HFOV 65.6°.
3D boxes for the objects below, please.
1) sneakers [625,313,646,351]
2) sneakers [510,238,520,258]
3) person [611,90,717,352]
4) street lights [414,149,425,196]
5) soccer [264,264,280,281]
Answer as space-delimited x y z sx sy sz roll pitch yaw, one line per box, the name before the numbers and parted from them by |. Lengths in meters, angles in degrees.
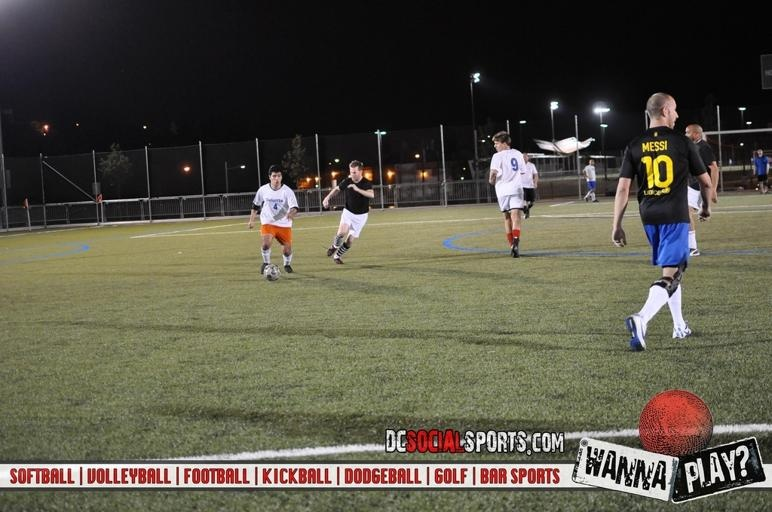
sneakers | 2.146 0.667 5.158 0.151 0.306 0.146 4 10 45
sneakers | 2.395 -0.033 11.203 0.152 0.200 0.463 -1 -29 9
person | 2.532 -0.376 5.513 0.800 2.246 1.397 1 8 28
street lights | 2.235 -5.746 39.530 0.640 2.056 0.714 -4 7 -6
soccer | -1.950 0.294 10.035 0.262 0.260 0.258 -1 10 6
